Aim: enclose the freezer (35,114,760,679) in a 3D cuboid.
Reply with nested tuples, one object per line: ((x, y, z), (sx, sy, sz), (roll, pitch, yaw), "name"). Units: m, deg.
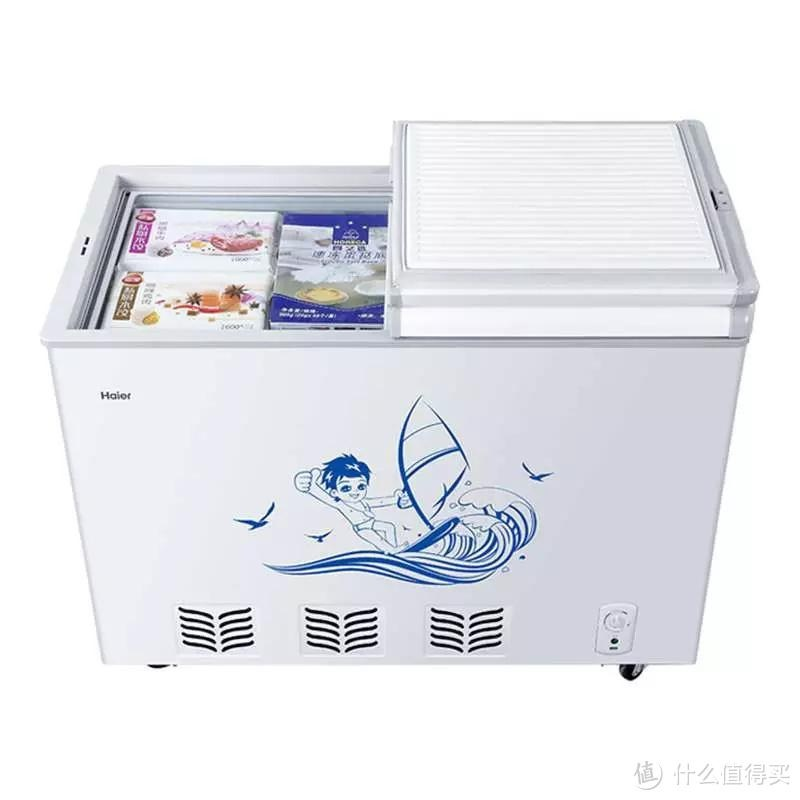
((0.037, 0.022, 1.967), (1.575, 0.678, 1.082), (-1, -45, 0), "freezer")
